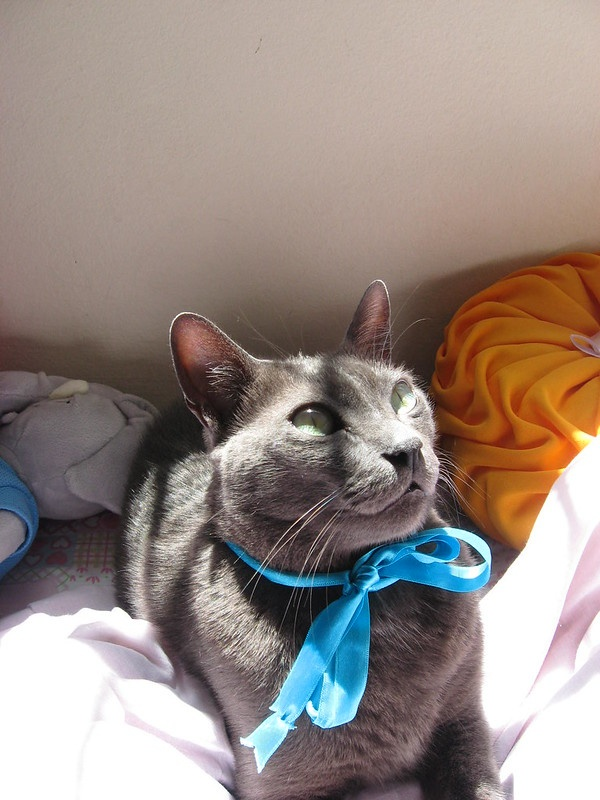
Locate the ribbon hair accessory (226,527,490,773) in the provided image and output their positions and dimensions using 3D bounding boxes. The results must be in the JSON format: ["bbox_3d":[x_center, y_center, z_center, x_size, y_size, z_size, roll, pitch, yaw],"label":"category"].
[{"bbox_3d":[0.069,0.232,0.812,0.258,0.149,0.208,-1,46,-11],"label":"ribbon hair accessory"}]
